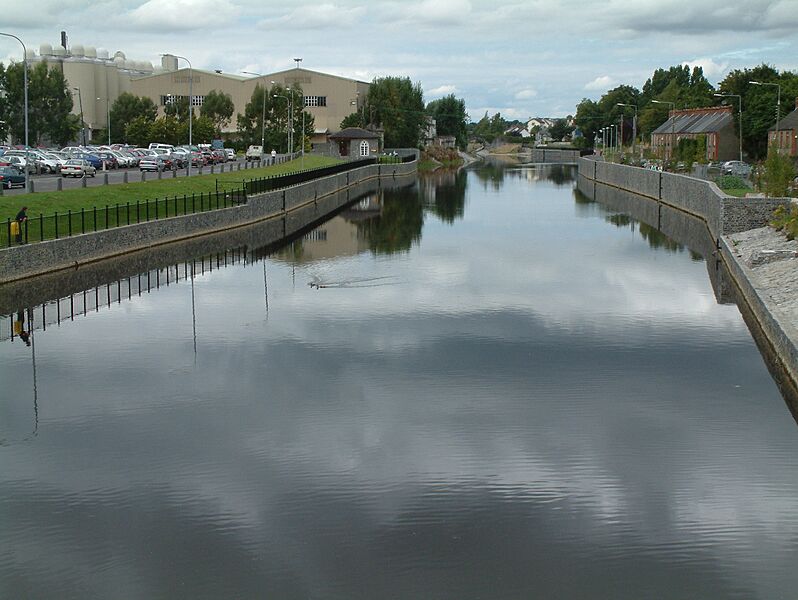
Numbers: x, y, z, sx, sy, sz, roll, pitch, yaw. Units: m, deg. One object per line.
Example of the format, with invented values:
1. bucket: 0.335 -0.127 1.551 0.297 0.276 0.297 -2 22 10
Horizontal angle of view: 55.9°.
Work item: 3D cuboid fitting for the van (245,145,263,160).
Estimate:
1. van: -21.663 -21.895 112.515 2.083 2.527 3.614 1 14 -2
